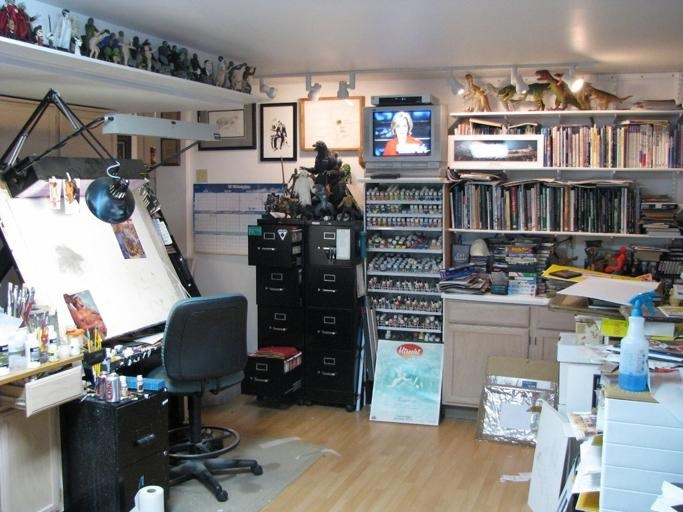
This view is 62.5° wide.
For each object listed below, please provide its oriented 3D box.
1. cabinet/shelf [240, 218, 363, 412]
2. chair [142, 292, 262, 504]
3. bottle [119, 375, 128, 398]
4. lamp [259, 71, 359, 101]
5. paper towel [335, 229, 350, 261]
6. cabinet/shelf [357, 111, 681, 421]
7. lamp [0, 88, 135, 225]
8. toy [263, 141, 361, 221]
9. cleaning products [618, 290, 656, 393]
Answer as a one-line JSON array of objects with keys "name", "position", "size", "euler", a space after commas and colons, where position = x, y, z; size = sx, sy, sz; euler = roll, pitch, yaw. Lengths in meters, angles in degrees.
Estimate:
[{"name": "cabinet/shelf", "position": [-0.231, 0.499, 5.326], "size": [1.083, 1.586, 0.876], "euler": [1, 1, 17]}, {"name": "chair", "position": [-1.036, 0.905, 3.877], "size": [0.853, 1.246, 0.856], "euler": [0, 0, 25]}, {"name": "bottle", "position": [-1.290, 0.753, 3.320], "size": [0.045, 0.123, 0.152], "euler": [-2, 9, -18]}, {"name": "lamp", "position": [-0.352, -1.579, 5.283], "size": [1.044, 0.241, 0.474], "euler": [3, 9, 14]}, {"name": "paper towel", "position": [0.013, -0.106, 4.949], "size": [0.142, 0.277, 0.023], "euler": [3, 9, 14]}, {"name": "cabinet/shelf", "position": [1.435, 0.009, 4.430], "size": [2.844, 2.479, 0.976], "euler": [0, -1, 13]}, {"name": "lamp", "position": [-1.820, -0.658, 3.698], "size": [0.790, 0.780, 1.298], "euler": [-3, 9, -20]}, {"name": "toy", "position": [-0.252, -0.674, 5.107], "size": [0.894, 0.695, 0.414], "euler": [1, 8, 0]}, {"name": "cleaning products", "position": [1.183, 0.332, 2.249], "size": [0.111, 0.340, 0.305], "euler": [5, 9, 27]}]
